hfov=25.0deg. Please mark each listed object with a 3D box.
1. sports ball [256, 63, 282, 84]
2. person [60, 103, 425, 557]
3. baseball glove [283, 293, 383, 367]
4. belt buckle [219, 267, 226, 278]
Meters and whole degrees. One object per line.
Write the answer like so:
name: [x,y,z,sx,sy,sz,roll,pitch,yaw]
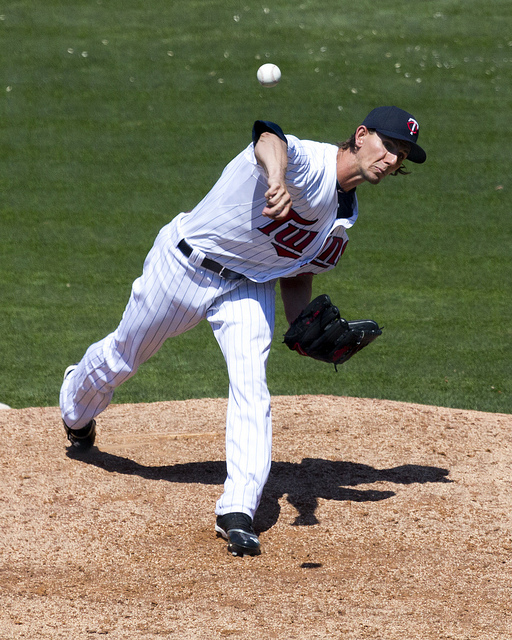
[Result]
sports ball: [0.066,-1.562,7.335,0.152,0.146,0.083,18,5,20]
person: [-0.181,-0.030,4.845,1.117,1.865,1.023,18,24,18]
baseball glove: [0.324,-0.001,4.919,0.283,0.391,0.141,39,43,-19]
belt buckle: [-0.139,-0.198,4.704,0.009,0.029,0.030,13,11,5]
